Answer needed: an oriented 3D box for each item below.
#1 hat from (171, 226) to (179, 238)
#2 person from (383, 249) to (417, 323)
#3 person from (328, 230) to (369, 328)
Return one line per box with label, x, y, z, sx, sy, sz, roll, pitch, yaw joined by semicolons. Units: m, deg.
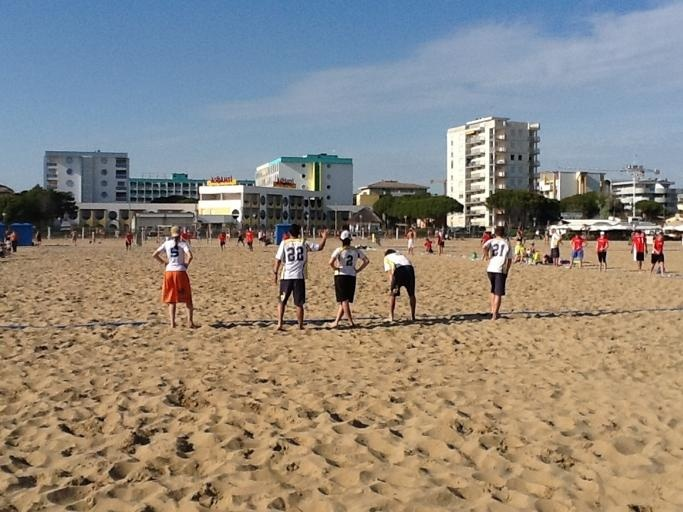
hat;-2.651;-0.387;11.861;0.157;0.189;0.140;0;3;21
person;1.023;0.513;12.931;0.549;1.220;0.508;0;5;-4
person;0.107;0.389;12.286;0.614;1.626;0.820;0;5;2
